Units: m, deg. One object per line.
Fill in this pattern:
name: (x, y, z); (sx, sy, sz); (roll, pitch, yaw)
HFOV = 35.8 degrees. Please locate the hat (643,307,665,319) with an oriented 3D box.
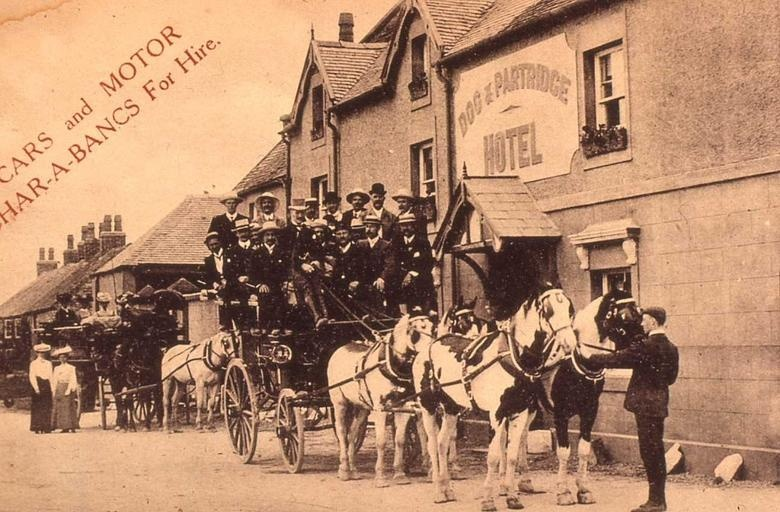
hat: (4.750, 1.102, 21.785); (0.311, 0.179, 0.262); (4, -5, 31)

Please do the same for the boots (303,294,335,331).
boots: (-1.459, 1.159, 24.675); (0.357, 0.775, 0.463); (-21, -49, 5)

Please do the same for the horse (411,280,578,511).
horse: (1.935, 2.744, 22.114); (3.153, 3.976, 1.192); (-13, -18, 41)

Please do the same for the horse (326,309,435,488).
horse: (-0.105, 3.038, 23.748); (1.146, 3.420, 4.553); (3, -6, -26)

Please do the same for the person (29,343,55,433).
person: (-9.062, 3.582, 31.536); (0.613, 2.402, 0.904); (4, -14, -18)
